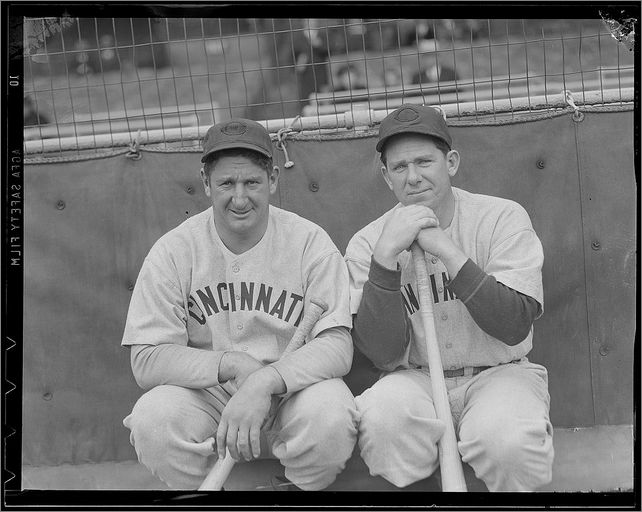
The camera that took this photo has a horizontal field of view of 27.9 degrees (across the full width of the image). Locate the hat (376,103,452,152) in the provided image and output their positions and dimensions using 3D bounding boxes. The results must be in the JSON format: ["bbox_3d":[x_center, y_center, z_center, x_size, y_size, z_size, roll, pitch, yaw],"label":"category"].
[{"bbox_3d":[0.491,-0.717,7.165,0.378,0.271,0.521,-10,-9,13],"label":"hat"}]

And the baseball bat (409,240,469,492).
[{"bbox_3d":[0.617,0.624,6.909,0.170,1.427,0.182,-10,-10,20],"label":"baseball bat"}]

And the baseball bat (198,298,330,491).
[{"bbox_3d":[-0.297,0.773,6.871,0.147,1.135,0.155,33,-19,-4],"label":"baseball bat"}]
